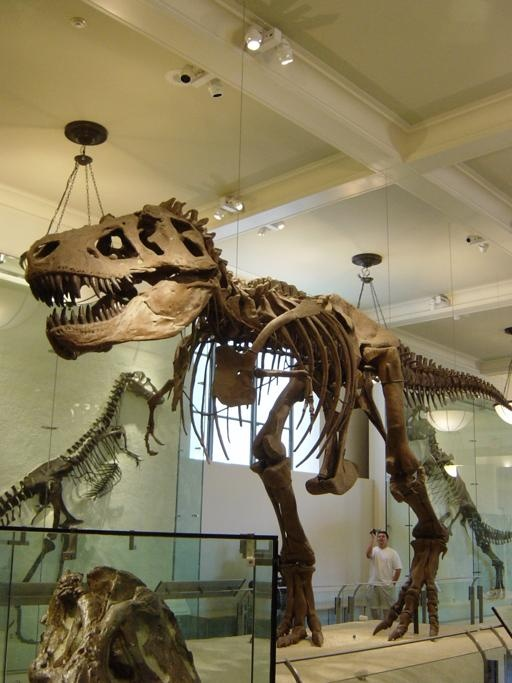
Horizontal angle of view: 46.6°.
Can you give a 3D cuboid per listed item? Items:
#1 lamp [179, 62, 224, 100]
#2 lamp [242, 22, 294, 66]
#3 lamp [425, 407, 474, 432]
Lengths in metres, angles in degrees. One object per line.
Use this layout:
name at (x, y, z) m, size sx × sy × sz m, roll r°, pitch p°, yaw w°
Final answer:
lamp at (-0.396, -1.763, 4.072) m, size 0.309 × 0.116 × 0.237 m, roll 1°, pitch -7°, yaw -8°
lamp at (0.109, -1.833, 3.766) m, size 0.170 × 0.187 × 0.379 m, roll -14°, pitch -22°, yaw 34°
lamp at (2.885, 1.178, 8.846) m, size 0.781 × 0.363 × 0.168 m, roll 3°, pitch -8°, yaw -24°
